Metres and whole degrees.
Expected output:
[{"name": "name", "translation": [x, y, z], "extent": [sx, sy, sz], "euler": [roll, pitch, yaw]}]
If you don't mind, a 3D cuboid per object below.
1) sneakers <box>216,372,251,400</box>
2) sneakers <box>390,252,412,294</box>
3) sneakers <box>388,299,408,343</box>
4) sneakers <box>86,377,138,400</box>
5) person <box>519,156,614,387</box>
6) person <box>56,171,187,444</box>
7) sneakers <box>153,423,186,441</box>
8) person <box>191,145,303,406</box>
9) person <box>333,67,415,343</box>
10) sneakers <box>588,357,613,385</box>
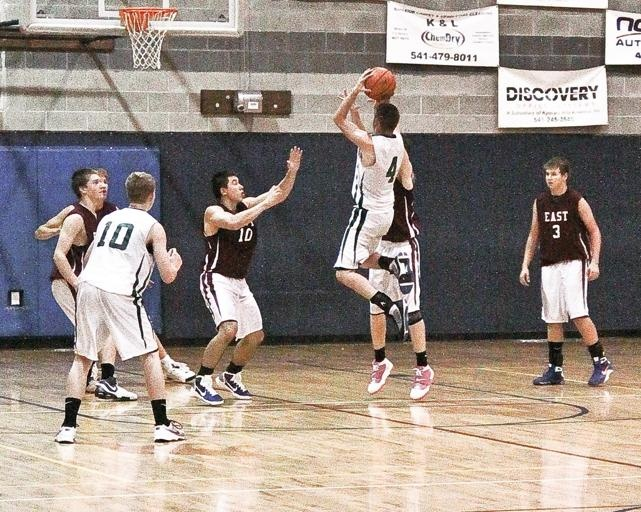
[{"name": "sneakers", "translation": [-0.722, 1.078, 7.441], "extent": [0.251, 0.179, 0.088], "euler": [38, 13, 1]}, {"name": "sneakers", "translation": [0.641, 0.137, 7.050], "extent": [0.113, 0.334, 0.134], "euler": [-2, -11, -23]}, {"name": "sneakers", "translation": [0.633, 0.527, 7.003], "extent": [0.128, 0.369, 0.114], "euler": [-17, 7, -14]}, {"name": "sneakers", "translation": [-1.672, 1.088, 7.338], "extent": [0.404, 0.219, 0.171], "euler": [10, -4, -8]}, {"name": "person", "translation": [2.200, 0.182, 8.115], "extent": [0.777, 2.046, 0.571], "euler": [-1, 9, 14]}, {"name": "person", "translation": [-1.263, 0.316, 5.835], "extent": [0.665, 1.733, 0.596], "euler": [1, 1, -13]}, {"name": "sneakers", "translation": [-0.952, 1.115, 5.740], "extent": [0.080, 0.115, 0.211], "euler": [-2, -1, 45]}, {"name": "person", "translation": [-0.627, 0.280, 7.177], "extent": [0.861, 1.940, 1.120], "euler": [-4, 10, -1]}, {"name": "person", "translation": [0.409, -0.380, 6.965], "extent": [0.637, 2.028, 0.554], "euler": [-3, 9, 0]}, {"name": "sneakers", "translation": [2.500, 1.038, 8.089], "extent": [0.187, 0.282, 0.333], "euler": [0, 11, 21]}]
